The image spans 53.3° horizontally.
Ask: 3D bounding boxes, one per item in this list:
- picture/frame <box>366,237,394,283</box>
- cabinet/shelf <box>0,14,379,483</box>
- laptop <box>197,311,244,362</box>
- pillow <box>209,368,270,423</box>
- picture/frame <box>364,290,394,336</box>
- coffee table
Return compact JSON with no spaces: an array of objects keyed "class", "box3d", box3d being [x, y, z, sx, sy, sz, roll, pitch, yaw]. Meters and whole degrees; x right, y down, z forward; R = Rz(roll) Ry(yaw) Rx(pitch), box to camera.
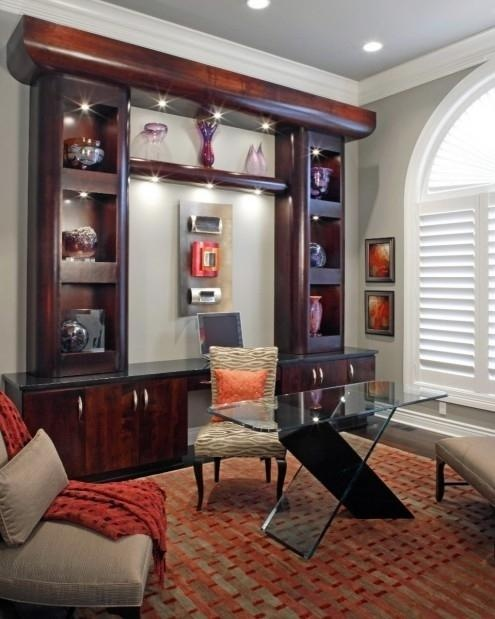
[{"class":"picture/frame","box3d":[1.210,-0.454,4.485,0.050,0.524,0.407,3,-3,-33]},{"class":"cabinet/shelf","box3d":[-0.430,-0.439,3.179,2.924,2.838,0.767,-1,1,-36]},{"class":"laptop","box3d":[-0.198,0.190,3.459,0.338,0.299,0.027,-1,-8,-35]},{"class":"pillow","box3d":[-0.046,0.444,2.594,0.287,0.288,0.108,-1,-23,0]},{"class":"picture/frame","box3d":[1.205,0.028,4.500,0.049,0.527,0.403,3,-3,-31]},{"class":"coffee table","box3d":[0.406,0.718,2.414,1.158,0.666,0.554,-2,4,-39]}]
